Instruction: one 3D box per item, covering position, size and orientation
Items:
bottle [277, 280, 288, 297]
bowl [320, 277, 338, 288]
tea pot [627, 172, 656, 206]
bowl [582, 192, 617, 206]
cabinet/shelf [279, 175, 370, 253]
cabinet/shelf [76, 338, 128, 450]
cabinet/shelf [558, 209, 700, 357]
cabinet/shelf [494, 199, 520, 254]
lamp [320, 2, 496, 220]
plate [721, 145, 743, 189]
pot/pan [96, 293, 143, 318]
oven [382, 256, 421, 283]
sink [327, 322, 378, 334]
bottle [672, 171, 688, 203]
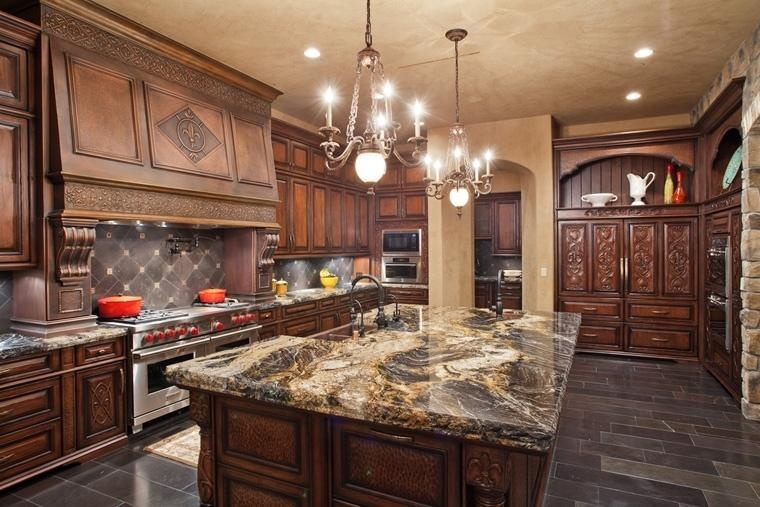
[{"bbox_3d":[-1.434,0.509,6.665,0.208,0.230,0.191,4,-10,-35],"label":"bottle"},{"bbox_3d":[-0.850,0.483,7.659,0.269,0.238,0.296,-2,10,-9],"label":"bowl"},{"bbox_3d":[3.986,-0.994,6.928,0.385,0.494,0.495,4,11,26],"label":"tea pot"},{"bbox_3d":[3.440,-0.849,7.101,0.517,0.199,0.389,3,10,20],"label":"bowl"},{"bbox_3d":[-0.924,-0.629,7.154,0.241,0.665,1.434,-6,-6,35],"label":"cabinet/shelf"},{"bbox_3d":[-2.694,1.336,4.404,0.528,0.963,0.185,-9,13,-37],"label":"cabinet/shelf"},{"bbox_3d":[3.786,0.450,6.686,2.366,2.666,0.824,0,-2,22],"label":"cabinet/shelf"},{"bbox_3d":[2.680,-0.549,9.428,0.513,1.106,0.254,2,11,17],"label":"cabinet/shelf"},{"bbox_3d":[0.379,-1.801,5.636,1.826,2.507,1.933,-2,-9,18],"label":"lamp"},{"bbox_3d":[4.407,-1.080,5.675,0.143,0.545,0.668,6,12,34],"label":"plate"},{"bbox_3d":[-2.713,0.554,4.810,0.253,0.137,0.337,-2,-5,7],"label":"pot/pan"},{"bbox_3d":[0.384,0.278,7.996,0.692,0.444,0.456,-1,-4,23],"label":"oven"},{"bbox_3d":[-0.352,0.816,4.842,0.395,0.089,0.363,0,-3,4],"label":"sink"},{"bbox_3d":[4.469,-0.990,6.740,0.170,0.462,0.459,5,12,32],"label":"bottle"}]
